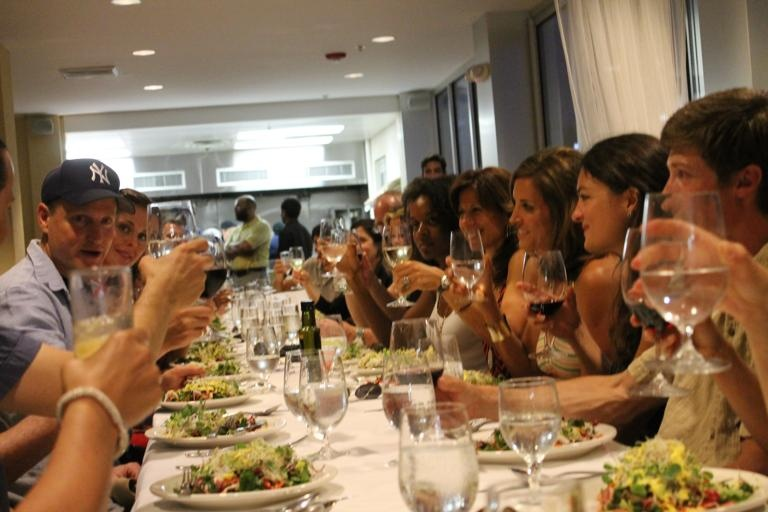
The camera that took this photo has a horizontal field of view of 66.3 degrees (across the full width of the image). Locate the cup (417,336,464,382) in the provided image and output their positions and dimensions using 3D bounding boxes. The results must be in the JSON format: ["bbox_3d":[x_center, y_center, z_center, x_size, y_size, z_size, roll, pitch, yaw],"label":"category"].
[{"bbox_3d":[0.178,0.301,1.699,0.113,0.163,0.127,0,-6,-5],"label":"cup"}]

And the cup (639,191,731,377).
[{"bbox_3d":[0.620,0.075,1.205,0.230,0.410,0.164,-7,3,-43],"label":"cup"}]

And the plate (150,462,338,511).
[{"bbox_3d":[-0.327,0.541,1.347,0.432,0.076,0.152,-5,2,2],"label":"plate"}]

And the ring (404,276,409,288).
[{"bbox_3d":[0.108,0.133,2.814,0.014,0.041,0.029,5,13,24],"label":"ring"}]

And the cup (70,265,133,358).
[{"bbox_3d":[-0.511,0.104,1.068,0.102,0.166,0.101,-5,2,0],"label":"cup"}]

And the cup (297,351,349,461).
[{"bbox_3d":[-0.155,0.360,1.512,0.123,0.210,0.119,-5,2,0],"label":"cup"}]

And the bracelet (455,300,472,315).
[{"bbox_3d":[0.327,0.209,2.348,0.042,0.065,0.035,5,-6,-6],"label":"bracelet"}]

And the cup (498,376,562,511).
[{"bbox_3d":[0.310,0.388,1.262,0.119,0.264,0.201,-4,2,8],"label":"cup"}]

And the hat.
[{"bbox_3d":[-1.234,-0.293,2.434,0.369,0.207,0.283,0,3,25],"label":"hat"}]

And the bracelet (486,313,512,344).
[{"bbox_3d":[0.458,0.300,2.386,0.100,0.115,0.104,-5,-21,-13],"label":"bracelet"}]

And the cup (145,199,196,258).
[{"bbox_3d":[-0.677,-0.081,1.918,0.192,0.208,0.127,-1,-5,4],"label":"cup"}]
